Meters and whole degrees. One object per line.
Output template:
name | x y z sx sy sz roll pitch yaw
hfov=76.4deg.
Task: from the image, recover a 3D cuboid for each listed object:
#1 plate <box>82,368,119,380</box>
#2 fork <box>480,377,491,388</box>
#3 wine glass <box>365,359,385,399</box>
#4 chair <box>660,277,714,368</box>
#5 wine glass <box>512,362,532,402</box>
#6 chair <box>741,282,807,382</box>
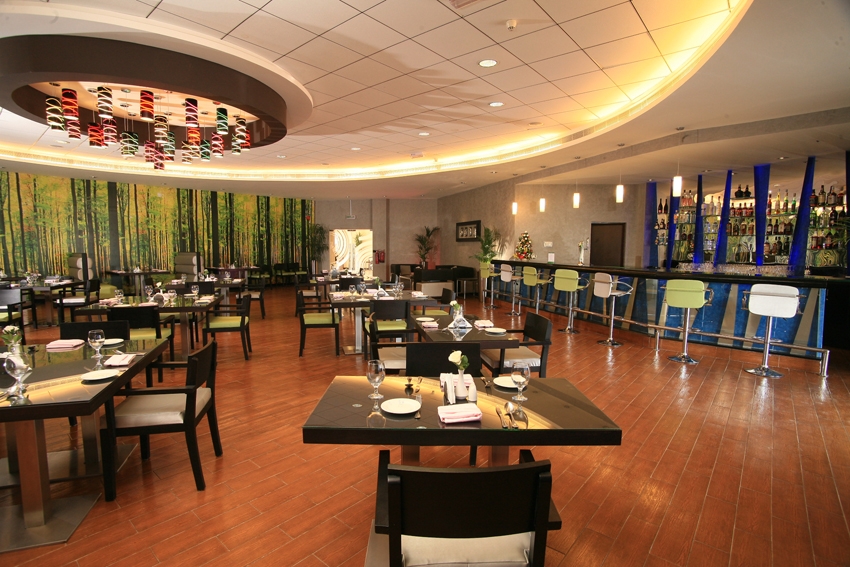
plate | -2.971 0.837 4.952 0.323 0.067 0.190 -2 3 -18
fork | 0.538 0.892 4.871 0.050 0.051 0.150 1 7 7
wine glass | -0.433 0.805 4.684 0.127 0.331 0.226 -2 4 -6
chair | 3.975 0.527 8.226 0.596 1.227 0.938 1 5 26
wine glass | 0.819 0.841 4.688 0.144 0.293 0.270 -1 4 5
chair | 4.857 0.622 7.612 0.600 1.257 0.868 1 5 30
